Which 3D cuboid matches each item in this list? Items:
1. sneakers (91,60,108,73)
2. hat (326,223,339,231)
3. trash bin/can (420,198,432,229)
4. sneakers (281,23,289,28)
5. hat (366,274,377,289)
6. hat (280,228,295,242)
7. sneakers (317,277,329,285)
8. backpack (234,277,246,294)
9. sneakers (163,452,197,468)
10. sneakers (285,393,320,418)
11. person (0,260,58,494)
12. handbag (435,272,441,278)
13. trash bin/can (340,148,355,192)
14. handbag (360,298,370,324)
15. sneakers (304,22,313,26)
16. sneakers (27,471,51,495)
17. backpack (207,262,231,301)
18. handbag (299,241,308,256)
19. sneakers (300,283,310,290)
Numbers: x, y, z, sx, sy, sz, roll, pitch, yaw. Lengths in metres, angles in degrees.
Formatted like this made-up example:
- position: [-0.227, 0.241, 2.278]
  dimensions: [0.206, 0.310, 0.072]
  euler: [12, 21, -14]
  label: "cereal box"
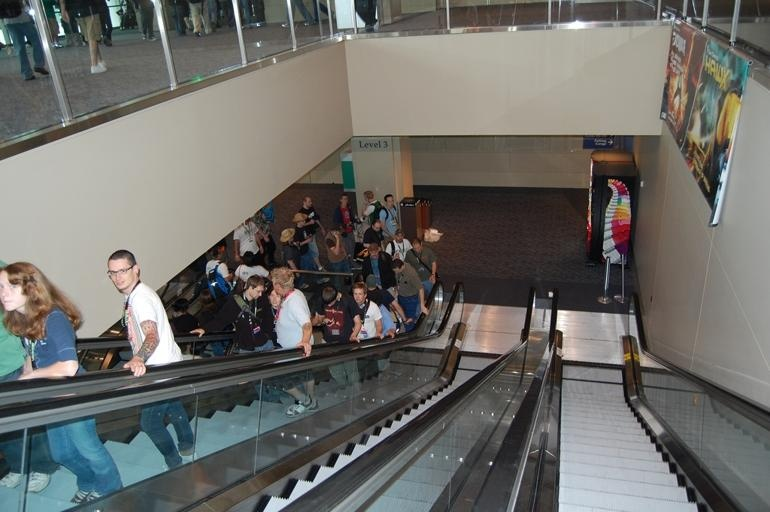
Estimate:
- position: [-2.986, -1.985, 5.133]
  dimensions: [0.121, 0.080, 0.174]
  euler: [-35, -4, -19]
  label: "sneakers"
- position: [-1.329, -0.743, 12.549]
  dimensions: [0.400, 0.139, 0.392]
  euler: [4, 16, 19]
  label: "hat"
- position: [1.291, -1.321, 15.440]
  dimensions: [0.419, 0.756, 0.795]
  euler: [2, 34, 9]
  label: "trash bin/can"
- position: [-1.731, -4.033, 8.594]
  dimensions: [0.157, 0.051, 0.105]
  euler: [2, -8, -5]
  label: "sneakers"
- position: [-0.218, 0.440, 8.147]
  dimensions: [0.144, 0.249, 0.378]
  euler: [-1, 15, 7]
  label: "hat"
- position: [-2.142, -0.494, 10.915]
  dimensions: [0.317, 0.319, 0.091]
  euler: [-10, -31, 27]
  label: "hat"
- position: [-1.378, 0.562, 11.121]
  dimensions: [0.301, 0.127, 0.102]
  euler: [-5, 27, 7]
  label: "sneakers"
- position: [-2.162, 0.435, 7.381]
  dimensions: [0.118, 0.190, 0.195]
  euler: [-12, 33, -19]
  label: "backpack"
- position: [-1.427, 1.426, 3.412]
  dimensions: [0.151, 0.103, 0.050]
  euler: [-2, 9, -36]
  label: "sneakers"
- position: [-0.828, 1.492, 4.916]
  dimensions: [0.102, 0.119, 0.310]
  euler: [27, 18, 32]
  label: "sneakers"
- position: [-2.424, 0.657, 3.140]
  dimensions: [0.245, 1.017, 1.672]
  euler: [-14, 18, -37]
  label: "person"
- position: [1.490, 0.507, 13.428]
  dimensions: [0.036, 0.138, 0.152]
  euler: [-4, -6, 25]
  label: "handbag"
- position: [-1.220, -2.915, 16.459]
  dimensions: [0.580, 1.021, 1.074]
  euler: [-1, 37, 2]
  label: "trash bin/can"
- position: [-0.295, 0.801, 7.247]
  dimensions: [0.113, 0.275, 0.195]
  euler: [2, 5, 5]
  label: "handbag"
- position: [-1.473, -4.501, 9.492]
  dimensions: [0.075, 0.081, 0.303]
  euler: [26, 24, -7]
  label: "sneakers"
- position: [-1.885, 1.223, 2.679]
  dimensions: [0.037, 0.110, 0.110]
  euler: [2, 15, 18]
  label: "sneakers"
- position: [-2.960, 0.417, 8.815]
  dimensions: [0.400, 0.676, 0.402]
  euler: [-7, 15, -19]
  label: "backpack"
- position: [-1.983, -0.190, 12.161]
  dimensions: [0.266, 0.268, 0.276]
  euler: [-32, -11, -11]
  label: "handbag"
- position: [-1.741, 0.672, 10.886]
  dimensions: [0.239, 0.109, 0.097]
  euler: [2, 26, 19]
  label: "sneakers"
